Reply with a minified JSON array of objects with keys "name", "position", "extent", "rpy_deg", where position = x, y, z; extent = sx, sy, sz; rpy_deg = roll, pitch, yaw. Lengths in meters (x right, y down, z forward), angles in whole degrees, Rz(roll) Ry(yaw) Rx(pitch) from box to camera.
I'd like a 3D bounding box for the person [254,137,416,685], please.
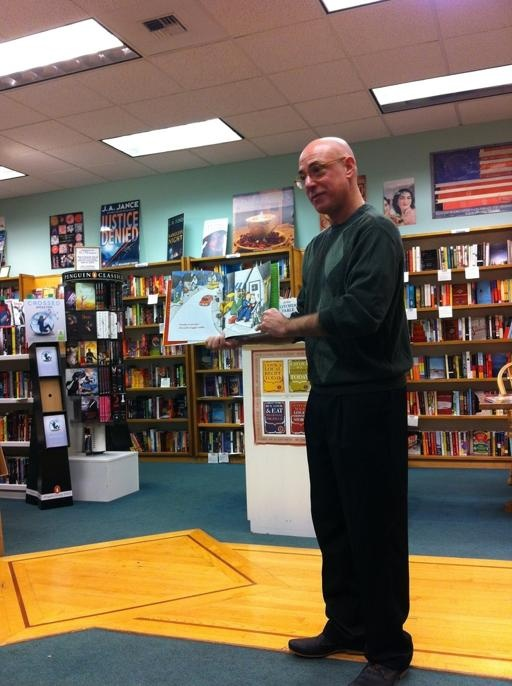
[{"name":"person","position":[0.239,0.176,1.582],"extent":[0.439,1.531,0.507],"rpy_deg":[-3,-7,2]}]
